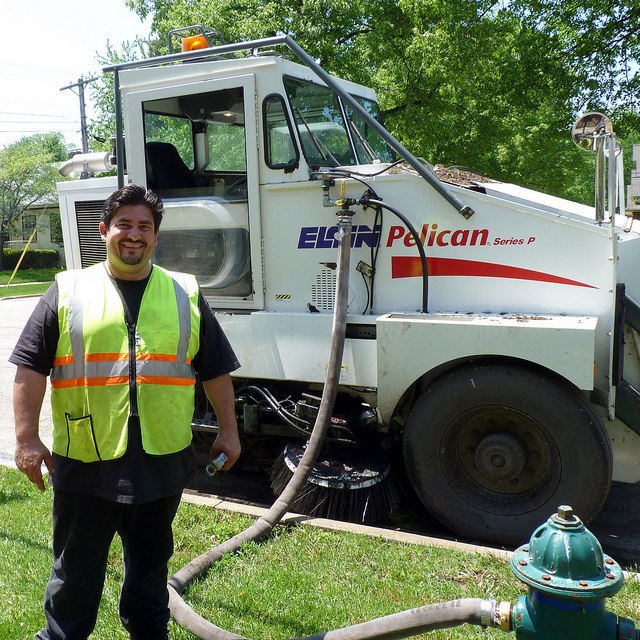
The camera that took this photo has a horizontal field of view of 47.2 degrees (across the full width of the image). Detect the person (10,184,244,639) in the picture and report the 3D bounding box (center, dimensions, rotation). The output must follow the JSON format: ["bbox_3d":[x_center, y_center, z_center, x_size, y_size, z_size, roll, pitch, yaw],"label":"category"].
[{"bbox_3d":[-0.769,0.433,2.983,0.845,1.944,0.461,-1,7,-7],"label":"person"}]
